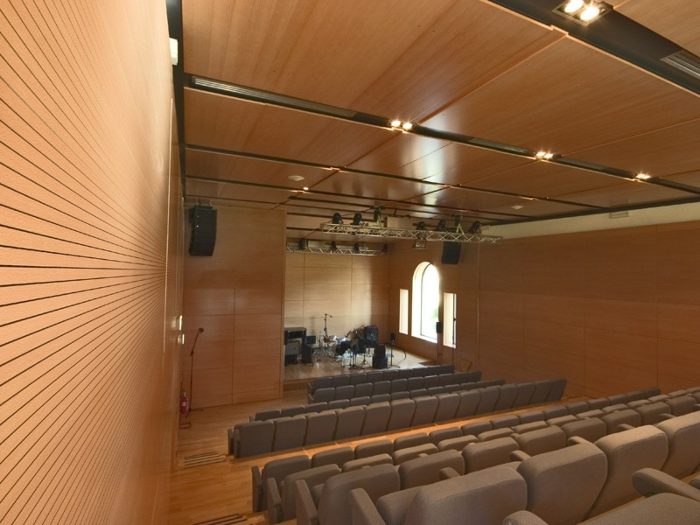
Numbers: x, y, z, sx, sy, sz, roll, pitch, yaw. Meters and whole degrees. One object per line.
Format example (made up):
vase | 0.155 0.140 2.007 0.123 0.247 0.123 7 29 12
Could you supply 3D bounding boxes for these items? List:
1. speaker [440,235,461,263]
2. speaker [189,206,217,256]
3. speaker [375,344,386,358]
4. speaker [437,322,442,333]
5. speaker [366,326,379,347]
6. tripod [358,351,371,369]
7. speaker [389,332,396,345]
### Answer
speaker | 2.771 -0.265 12.726 0.527 0.571 0.503 0 -2 8
speaker | -2.570 -0.525 8.557 0.636 0.918 0.645 4 1 -18
speaker | 0.902 2.581 13.751 0.310 0.564 0.595 0 -2 7
speaker | 2.574 1.870 13.572 0.179 0.318 0.193 0 -2 12
speaker | 0.657 2.216 13.867 0.312 0.601 0.411 0 -2 7
tripod | 0.461 3.030 14.427 0.361 0.451 0.365 -4 -1 -2
speaker | 1.533 2.702 16.611 0.238 0.423 0.486 1 -2 4
